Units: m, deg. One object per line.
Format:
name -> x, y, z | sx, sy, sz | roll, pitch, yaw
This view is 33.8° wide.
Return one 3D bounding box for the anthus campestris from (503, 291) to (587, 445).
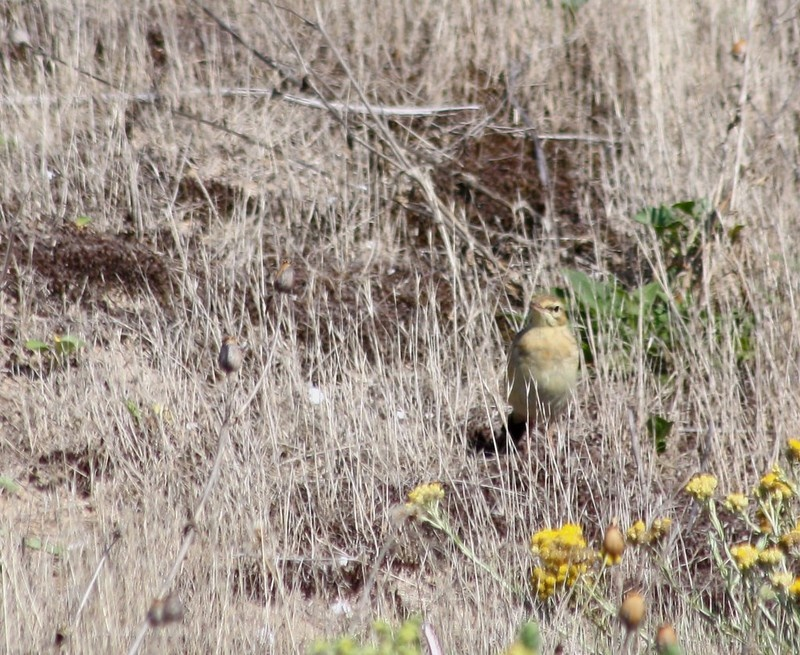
anthus campestris -> 0.863, 0.282, 7.953 | 0.458, 0.850, 0.451 | -6, 15, 6
